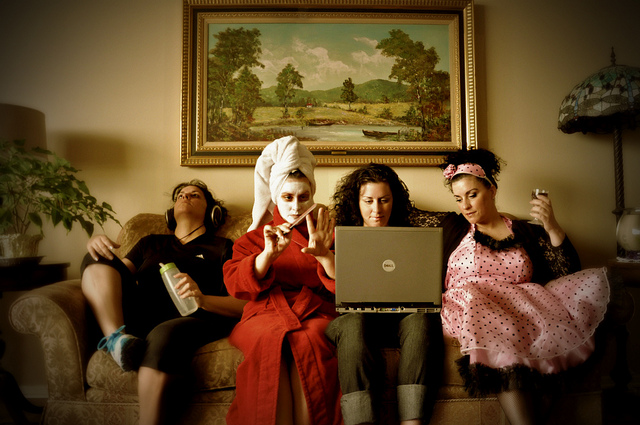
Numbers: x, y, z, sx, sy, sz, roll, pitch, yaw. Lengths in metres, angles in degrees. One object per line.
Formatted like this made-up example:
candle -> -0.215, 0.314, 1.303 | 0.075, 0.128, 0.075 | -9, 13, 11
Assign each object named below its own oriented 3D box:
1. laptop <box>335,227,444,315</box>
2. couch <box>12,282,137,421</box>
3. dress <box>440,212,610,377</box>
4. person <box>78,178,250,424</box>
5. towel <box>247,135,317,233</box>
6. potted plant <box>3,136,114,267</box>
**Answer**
laptop -> 0.367, 0.378, 2.677 | 0.570, 0.460, 0.464 | 3, -26, 2
couch -> -1.253, 0.833, 3.082 | 0.929, 0.588, 0.692 | -2, -10, -5
dress -> 1.065, 0.411, 2.833 | 0.882, 0.452, 1.157 | -5, 36, -4
person -> -0.867, 0.535, 2.799 | 0.700, 0.742, 1.418 | -12, 46, 13
towel -> -0.189, -0.342, 2.839 | 0.193, 0.099, 0.278 | -12, 46, 9
potted plant -> -1.573, -0.018, 3.335 | 0.742, 0.850, 0.755 | 1, -6, -19
